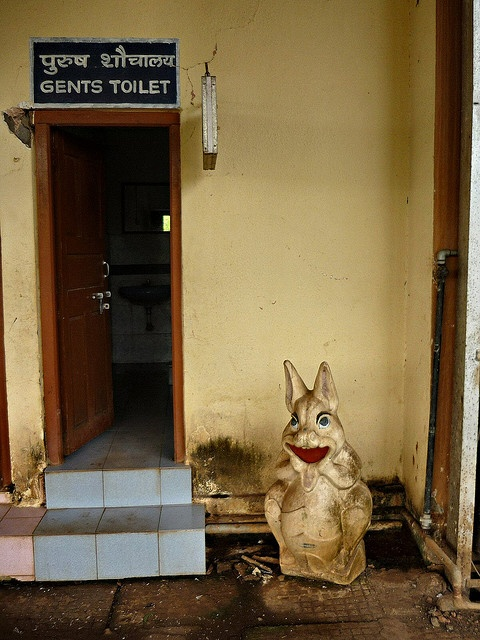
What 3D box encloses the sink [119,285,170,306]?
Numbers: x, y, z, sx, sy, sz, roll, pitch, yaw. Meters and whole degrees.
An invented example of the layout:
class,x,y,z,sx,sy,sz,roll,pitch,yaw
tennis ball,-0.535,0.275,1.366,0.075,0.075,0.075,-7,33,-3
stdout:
class,x,y,z,sx,sy,sz,roll,pitch,yaw
sink,-1.054,-0.254,7.553,0.570,0.272,0.400,-3,14,-5
